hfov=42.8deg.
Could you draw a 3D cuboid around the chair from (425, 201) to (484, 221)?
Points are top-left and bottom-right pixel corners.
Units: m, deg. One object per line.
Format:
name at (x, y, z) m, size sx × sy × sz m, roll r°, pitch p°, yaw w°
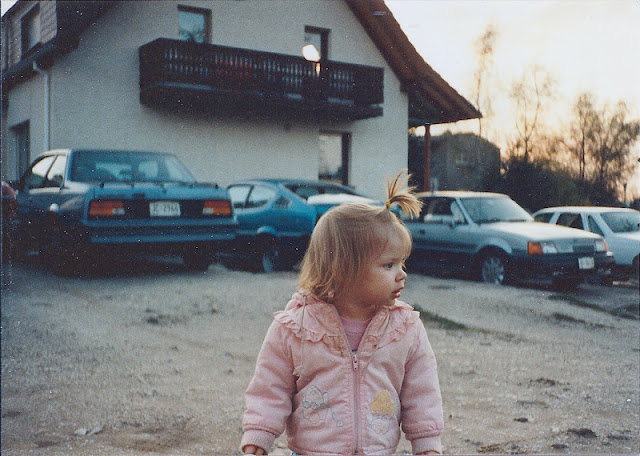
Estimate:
chair at (0.975, -0.135, 6.191) m, size 0.304 × 0.194 × 0.198 m, roll -2°, pitch 5°, yaw 23°
